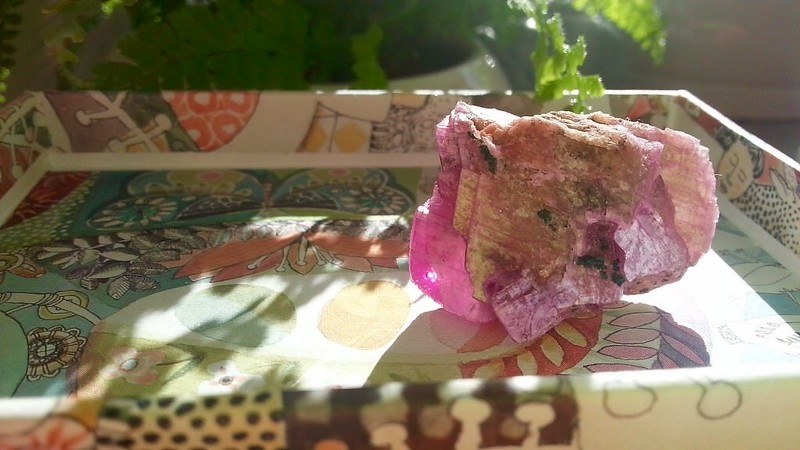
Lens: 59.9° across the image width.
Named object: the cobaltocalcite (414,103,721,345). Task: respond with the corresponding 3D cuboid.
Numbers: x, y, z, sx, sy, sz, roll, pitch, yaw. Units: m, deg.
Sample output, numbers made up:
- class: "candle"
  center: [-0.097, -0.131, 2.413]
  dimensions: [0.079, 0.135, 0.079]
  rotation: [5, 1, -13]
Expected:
- class: "cobaltocalcite"
  center: [0.302, -0.005, 1.276]
  dimensions: [0.539, 0.286, 0.401]
  rotation: [12, 49, 11]
